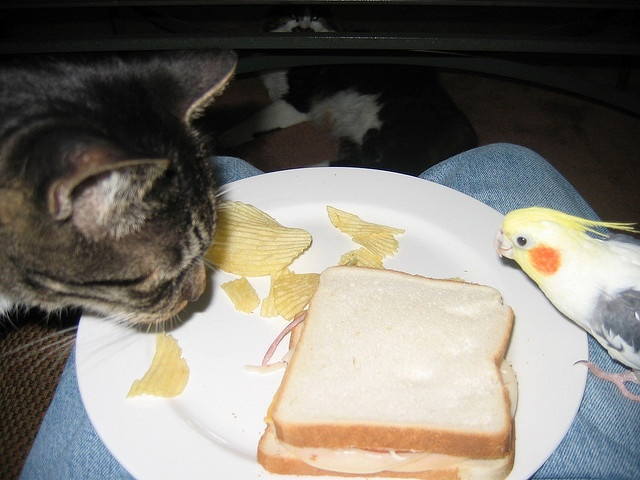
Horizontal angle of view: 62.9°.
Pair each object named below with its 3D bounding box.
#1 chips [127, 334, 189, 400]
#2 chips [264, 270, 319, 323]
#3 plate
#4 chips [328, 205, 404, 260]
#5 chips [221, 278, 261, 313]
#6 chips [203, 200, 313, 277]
[{"bbox_3d":[-0.434,0.363,1.472,0.136,0.180,0.091,15,-9,4],"label":"chips"},{"bbox_3d":[-0.102,0.166,1.627,0.150,0.041,0.218,0,28,6],"label":"chips"},{"bbox_3d":[-0.052,0.309,1.835,1.297,0.904,1.329,-7,24,-12],"label":"plate"},{"bbox_3d":[0.141,-0.040,1.796,0.225,0.159,0.190,-9,23,-25],"label":"chips"},{"bbox_3d":[-0.243,0.169,1.618,0.077,0.119,0.020,-14,-38,-28],"label":"chips"},{"bbox_3d":[-0.211,0.007,1.728,0.297,0.215,0.060,3,-21,4],"label":"chips"}]
